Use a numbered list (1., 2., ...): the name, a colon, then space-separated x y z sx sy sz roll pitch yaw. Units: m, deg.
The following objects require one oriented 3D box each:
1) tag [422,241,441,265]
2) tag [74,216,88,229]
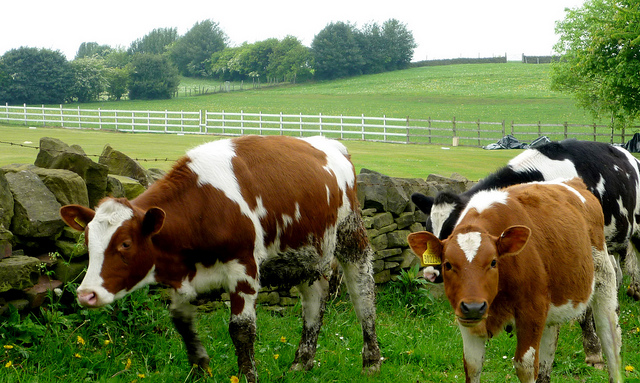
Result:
1. tag: 1.537 0.836 9.081 0.310 0.454 0.031 0 6 6
2. tag: -3.271 0.415 9.062 0.039 0.119 0.163 -43 58 -10
